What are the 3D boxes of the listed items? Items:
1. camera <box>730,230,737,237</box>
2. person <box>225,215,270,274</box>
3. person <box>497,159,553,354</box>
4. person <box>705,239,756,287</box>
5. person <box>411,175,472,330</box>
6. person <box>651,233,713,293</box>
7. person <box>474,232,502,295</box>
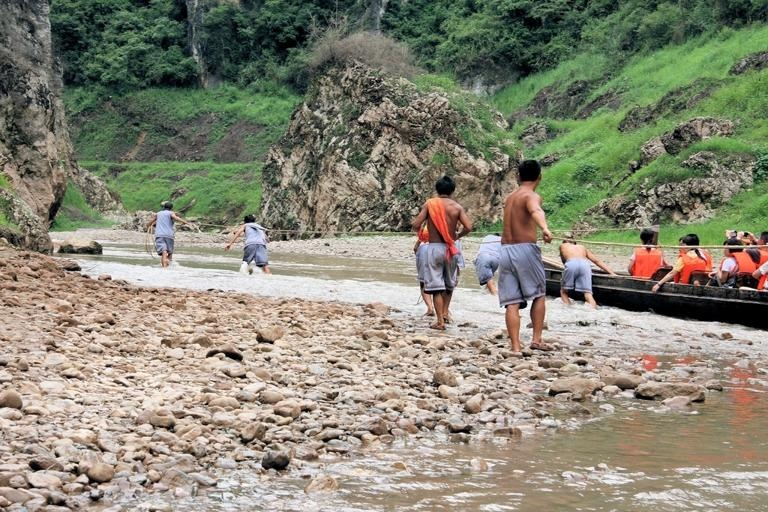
[{"bbox_3d":[7.945,-0.514,19.887,0.132,0.111,0.437,3,6,21],"label":"camera"},{"bbox_3d":[-3.524,-0.154,23.658,1.229,2.052,1.106,-3,-14,2],"label":"person"},{"bbox_3d":[2.537,-0.001,15.465,0.785,3.369,0.841,-1,7,-20],"label":"person"},{"bbox_3d":[7.585,0.300,19.053,0.969,1.275,0.898,9,20,29],"label":"person"},{"bbox_3d":[1.158,-0.108,17.206,1.027,2.970,1.026,2,6,10],"label":"person"},{"bbox_3d":[6.910,0.189,20.249,1.535,1.258,0.904,4,13,-20],"label":"person"},{"bbox_3d":[2.477,0.034,19.901,0.786,1.256,0.390,-13,-39,28],"label":"person"}]
